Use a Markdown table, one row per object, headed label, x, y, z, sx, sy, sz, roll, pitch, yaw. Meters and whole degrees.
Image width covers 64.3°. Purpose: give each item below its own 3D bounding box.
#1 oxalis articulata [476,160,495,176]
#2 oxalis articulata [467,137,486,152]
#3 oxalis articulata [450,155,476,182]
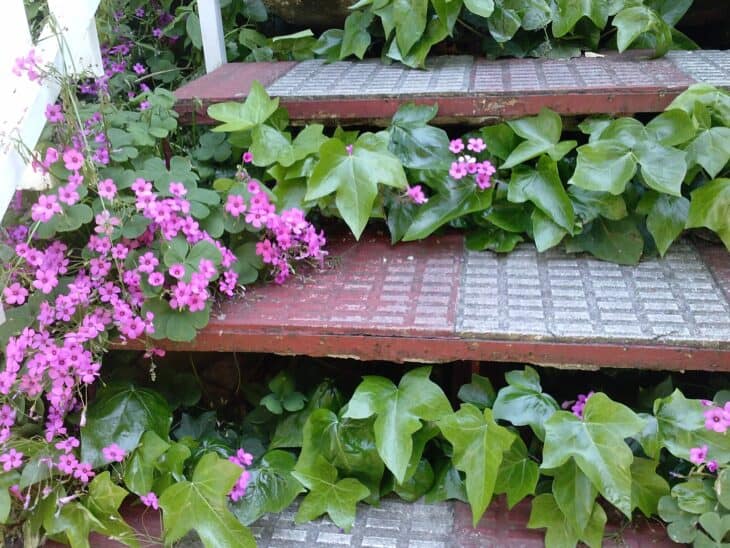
| label | x | y | z | sx | sy | sz | roll | pitch | yaw |
| --- | --- | --- | --- | --- | --- | --- | --- | --- | --- |
| oxalis articulata | 0.445 | -0.390 | 2.136 | 0.049 | 0.056 | 0.052 | -11 | -2 | 6 |
| oxalis articulata | 0.423 | -0.493 | 2.203 | 0.072 | 0.038 | 0.059 | 4 | 39 | 12 |
| oxalis articulata | 0.364 | -0.408 | 2.164 | 0.101 | 0.075 | 0.081 | -1 | 38 | 6 |
